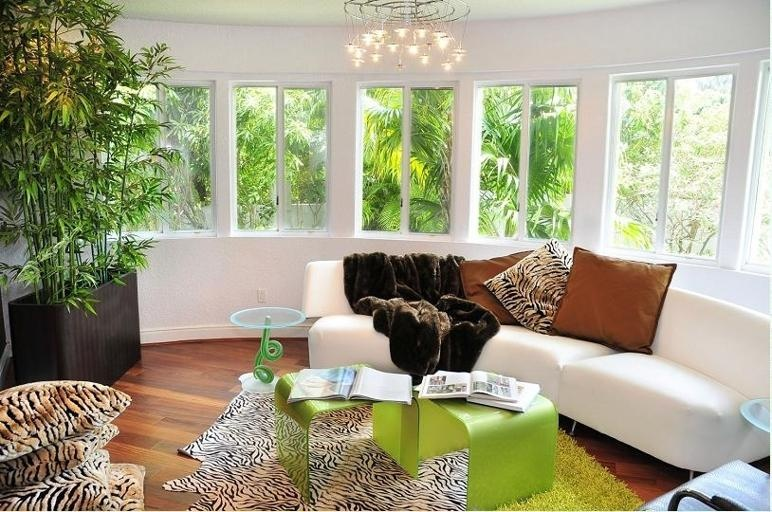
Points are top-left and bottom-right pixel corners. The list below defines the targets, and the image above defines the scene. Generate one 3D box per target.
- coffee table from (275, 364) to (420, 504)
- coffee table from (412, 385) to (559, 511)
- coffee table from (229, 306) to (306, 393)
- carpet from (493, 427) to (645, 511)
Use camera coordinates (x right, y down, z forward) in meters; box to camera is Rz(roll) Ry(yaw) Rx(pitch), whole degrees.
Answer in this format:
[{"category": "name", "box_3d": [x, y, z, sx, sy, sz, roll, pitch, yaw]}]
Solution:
[{"category": "coffee table", "box_3d": [-0.305, 1.088, 3.337, 1.018, 0.701, 0.693, -3, 6, -30]}, {"category": "coffee table", "box_3d": [0.654, 1.183, 3.155, 0.629, 0.518, 0.709, 1, -1, -33]}, {"category": "coffee table", "box_3d": [-1.018, 0.863, 4.225, 0.601, 0.582, 0.575, 3, 0, 5]}, {"category": "carpet", "box_3d": [1.247, 1.258, 3.071, 0.526, 0.164, 0.534, -1, 3, -38]}]
